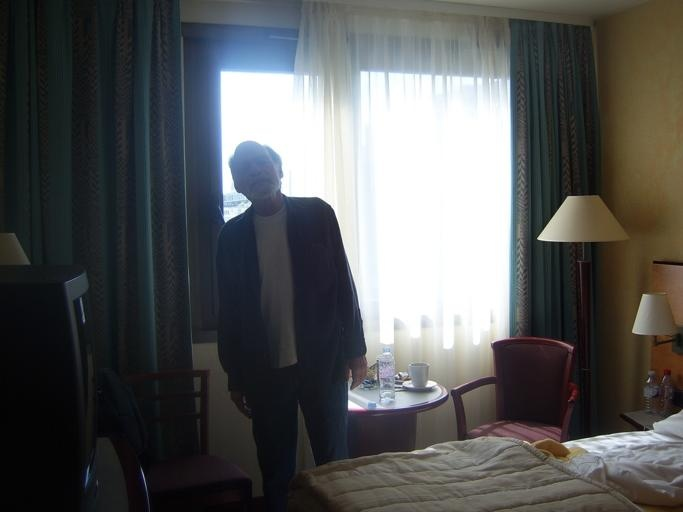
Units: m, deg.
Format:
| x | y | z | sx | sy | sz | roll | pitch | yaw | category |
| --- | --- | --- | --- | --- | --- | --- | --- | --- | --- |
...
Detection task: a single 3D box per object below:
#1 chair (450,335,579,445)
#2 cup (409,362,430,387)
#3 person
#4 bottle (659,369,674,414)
| x | y | z | sx | sy | sz | roll | pitch | yaw | category |
| --- | --- | --- | --- | --- | --- | --- | --- | --- | --- |
| 1.166 | 0.835 | 3.692 | 0.681 | 1.026 | 0.629 | 0 | -3 | 26 | chair |
| 0.462 | 0.715 | 3.508 | 0.095 | 0.135 | 0.120 | -1 | -2 | -33 | cup |
| -0.251 | 0.366 | 2.962 | 0.745 | 1.862 | 0.412 | -1 | 8 | -6 | person |
| 2.014 | 0.835 | 3.588 | 0.080 | 0.277 | 0.059 | -1 | 8 | -4 | bottle |
